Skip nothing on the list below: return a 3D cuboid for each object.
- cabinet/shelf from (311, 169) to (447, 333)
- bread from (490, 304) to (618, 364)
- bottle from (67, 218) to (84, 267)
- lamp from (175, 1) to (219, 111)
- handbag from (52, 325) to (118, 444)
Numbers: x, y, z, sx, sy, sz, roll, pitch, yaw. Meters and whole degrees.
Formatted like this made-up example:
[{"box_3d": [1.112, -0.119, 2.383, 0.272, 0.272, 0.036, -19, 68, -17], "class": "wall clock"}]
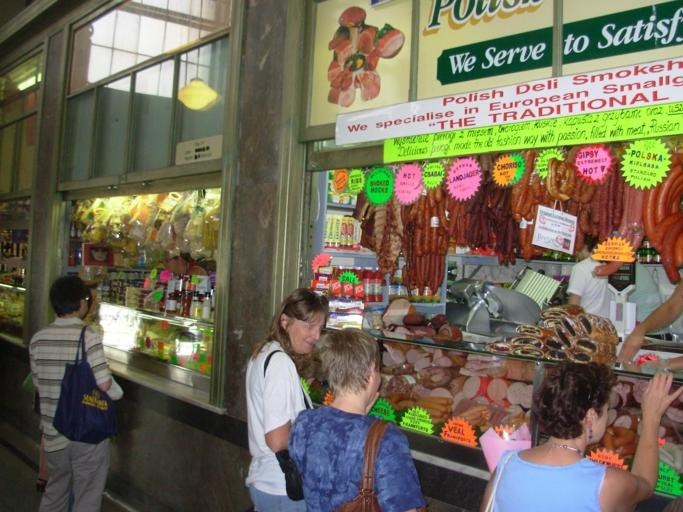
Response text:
[{"box_3d": [0.335, -0.197, 4.210, 0.587, 1.130, 1.113, -14, 13, -15], "class": "cabinet/shelf"}, {"box_3d": [1.117, 0.423, 2.590, 0.419, 0.208, 0.341, 0, 2, 28], "class": "bread"}, {"box_3d": [-3.296, -0.149, 6.328, 0.215, 0.582, 0.077, 2, 3, 15], "class": "bottle"}, {"box_3d": [-1.369, -1.825, 4.828, 0.368, 0.845, 0.396, 5, 8, 36], "class": "lamp"}, {"box_3d": [-1.927, 1.000, 3.821, 0.417, 0.900, 0.195, -1, 4, -34], "class": "handbag"}]
